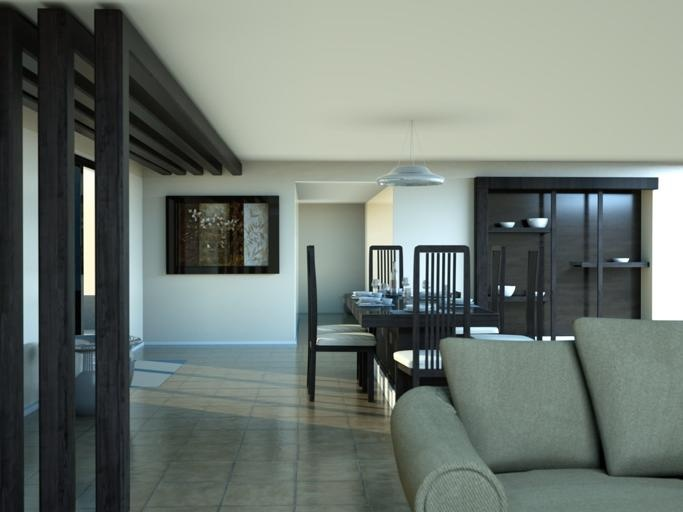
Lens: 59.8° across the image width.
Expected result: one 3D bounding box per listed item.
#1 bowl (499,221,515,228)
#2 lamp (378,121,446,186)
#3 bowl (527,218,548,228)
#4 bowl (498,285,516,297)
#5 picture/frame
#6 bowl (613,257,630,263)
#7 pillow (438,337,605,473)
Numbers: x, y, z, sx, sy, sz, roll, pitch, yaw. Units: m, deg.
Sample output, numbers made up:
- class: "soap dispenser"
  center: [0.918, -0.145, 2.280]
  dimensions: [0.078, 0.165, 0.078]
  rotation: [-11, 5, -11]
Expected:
- class: "bowl"
  center: [2.113, -0.396, 7.568]
  dimensions: [0.192, 0.090, 0.281]
  rotation: [0, 4, 17]
- class: "lamp"
  center: [0.661, -0.968, 5.410]
  dimensions: [0.619, 0.602, 0.618]
  rotation: [1, 2, 15]
- class: "bowl"
  center: [2.522, -0.422, 7.585]
  dimensions: [0.357, 0.145, 0.216]
  rotation: [-5, 6, -41]
- class: "bowl"
  center: [1.845, 0.389, 6.654]
  dimensions: [0.288, 0.126, 0.220]
  rotation: [-1, -3, 1]
- class: "picture/frame"
  center: [-1.488, -0.274, 7.473]
  dimensions: [1.386, 0.951, 0.066]
  rotation: [-1, 4, -27]
- class: "bowl"
  center: [3.609, 0.040, 7.680]
  dimensions: [0.201, 0.052, 0.347]
  rotation: [1, 5, 26]
- class: "pillow"
  center: [0.847, 0.676, 2.720]
  dimensions: [0.642, 0.559, 0.171]
  rotation: [0, -11, -3]
